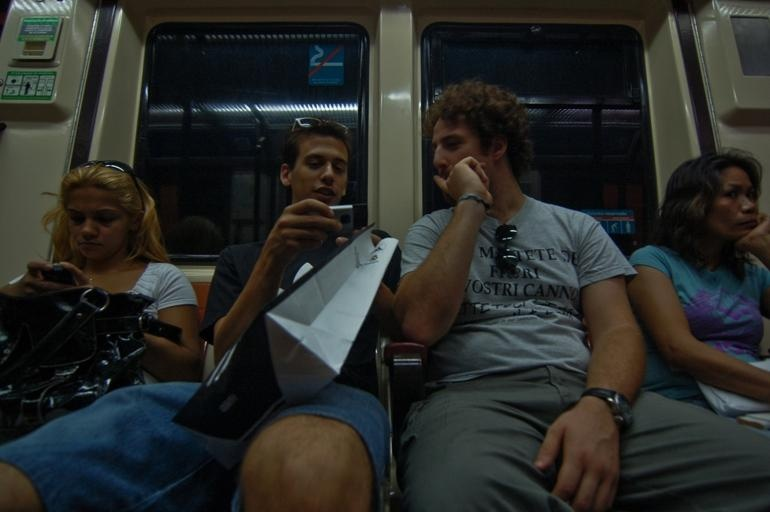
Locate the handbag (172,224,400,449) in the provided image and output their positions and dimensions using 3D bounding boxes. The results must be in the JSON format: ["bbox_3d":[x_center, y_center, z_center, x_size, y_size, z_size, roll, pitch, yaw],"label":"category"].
[{"bbox_3d":[-0.316,0.296,2.034,0.303,0.774,0.605,36,14,3],"label":"handbag"}]

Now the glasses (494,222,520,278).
[{"bbox_3d":[0.546,-0.037,2.543,0.127,0.202,0.040,-1,-14,3],"label":"glasses"}]
